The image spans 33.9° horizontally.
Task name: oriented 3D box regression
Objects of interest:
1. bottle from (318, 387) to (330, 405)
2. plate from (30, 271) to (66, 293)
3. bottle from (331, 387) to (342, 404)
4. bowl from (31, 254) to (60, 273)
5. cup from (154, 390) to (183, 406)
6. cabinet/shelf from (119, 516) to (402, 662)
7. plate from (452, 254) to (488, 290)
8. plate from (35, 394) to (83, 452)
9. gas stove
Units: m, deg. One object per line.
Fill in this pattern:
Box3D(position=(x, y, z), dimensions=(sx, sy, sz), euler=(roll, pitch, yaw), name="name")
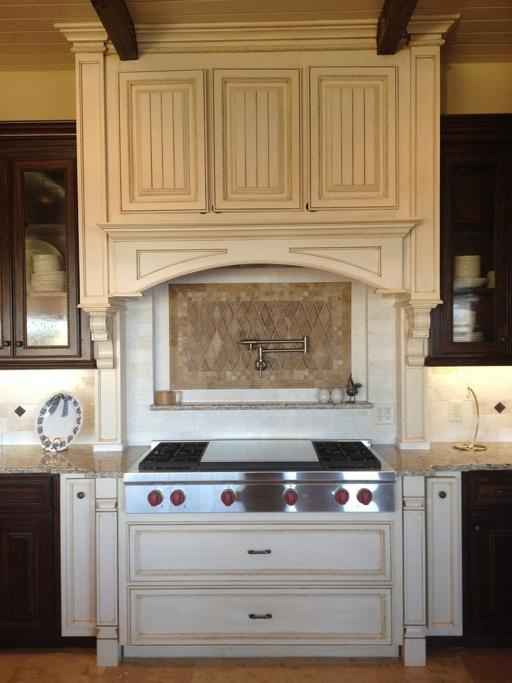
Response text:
Box3D(position=(0.364, 0.298, 4.541), dimensions=(0.088, 0.081, 0.078), euler=(-1, 0, -3), name="bottle")
Box3D(position=(-1.084, -0.307, 4.365), dimensions=(0.140, 0.069, 0.126), euler=(1, 2, 9), name="plate")
Box3D(position=(0.438, 0.300, 4.556), dimensions=(0.083, 0.083, 0.069), euler=(-1, 1, -7), name="bottle")
Box3D(position=(-1.094, -0.407, 4.365), dimensions=(0.126, 0.070, 0.111), euler=(1, 2, -2), name="bowl")
Box3D(position=(-0.488, 0.314, 4.616), dimensions=(0.177, 0.074, 0.100), euler=(2, 0, -16), name="cup")
Box3D(position=(0.160, 1.227, 4.267), dimensions=(1.664, 0.682, 0.533), euler=(-11, -22, 31), name="cabinet/shelf")
Box3D(position=(1.089, -0.360, 4.435), dimensions=(0.198, 0.154, 0.177), euler=(1, -1, -11), name="plate")
Box3D(position=(-1.063, 0.436, 4.471), dimensions=(0.245, 0.250, 0.207), euler=(-1, 1, -6), name="plate")
Box3D(position=(0.031, 0.581, 4.281), dimensions=(1.206, 0.089, 0.564), euler=(-1, 0, 1), name="gas stove")
